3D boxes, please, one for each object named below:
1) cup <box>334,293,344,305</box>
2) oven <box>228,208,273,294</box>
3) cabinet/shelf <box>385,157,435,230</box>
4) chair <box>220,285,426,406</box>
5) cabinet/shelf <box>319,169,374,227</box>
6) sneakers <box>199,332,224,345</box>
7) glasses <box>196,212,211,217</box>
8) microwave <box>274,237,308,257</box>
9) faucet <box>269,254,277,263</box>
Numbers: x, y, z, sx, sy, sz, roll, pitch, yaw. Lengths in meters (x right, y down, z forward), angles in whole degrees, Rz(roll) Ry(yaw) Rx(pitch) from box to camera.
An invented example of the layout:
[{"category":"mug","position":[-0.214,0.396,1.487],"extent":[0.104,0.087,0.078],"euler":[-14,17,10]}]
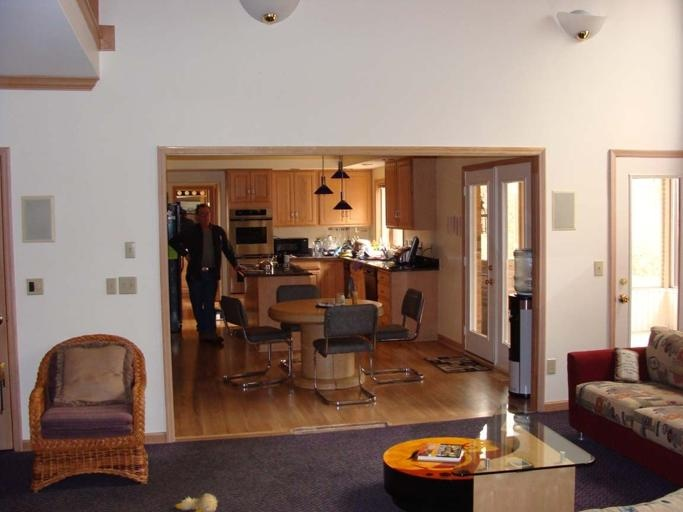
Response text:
[{"category":"cup","position":[-0.022,0.472,6.157],"extent":[0.089,0.103,0.107],"euler":[0,3,-4]},{"category":"oven","position":[-1.563,-0.055,11.370],"extent":[1.058,1.814,1.001],"euler":[-3,-9,22]},{"category":"cabinet/shelf","position":[1.026,-0.912,8.249],"extent":[0.426,0.976,1.111],"euler":[-1,3,-6]},{"category":"chair","position":[-0.159,0.976,5.988],"extent":[1.422,0.668,1.412],"euler":[-1,2,-7]},{"category":"cabinet/shelf","position":[0.052,-1.145,10.981],"extent":[1.123,1.018,0.449],"euler":[0,2,-12]},{"category":"sneakers","position":[-1.842,1.167,8.111],"extent":[0.421,0.177,0.139],"euler":[0,1,28]},{"category":"glasses","position":[-1.905,-0.565,7.799],"extent":[0.152,0.077,0.153],"euler":[-3,7,-14]},{"category":"microwave","position":[-0.983,-0.180,11.118],"extent":[0.704,0.330,0.402],"euler":[-1,6,-4]},{"category":"faucet","position":[-1.065,0.042,8.818],"extent":[0.171,0.103,0.251],"euler":[-2,2,-4]}]
